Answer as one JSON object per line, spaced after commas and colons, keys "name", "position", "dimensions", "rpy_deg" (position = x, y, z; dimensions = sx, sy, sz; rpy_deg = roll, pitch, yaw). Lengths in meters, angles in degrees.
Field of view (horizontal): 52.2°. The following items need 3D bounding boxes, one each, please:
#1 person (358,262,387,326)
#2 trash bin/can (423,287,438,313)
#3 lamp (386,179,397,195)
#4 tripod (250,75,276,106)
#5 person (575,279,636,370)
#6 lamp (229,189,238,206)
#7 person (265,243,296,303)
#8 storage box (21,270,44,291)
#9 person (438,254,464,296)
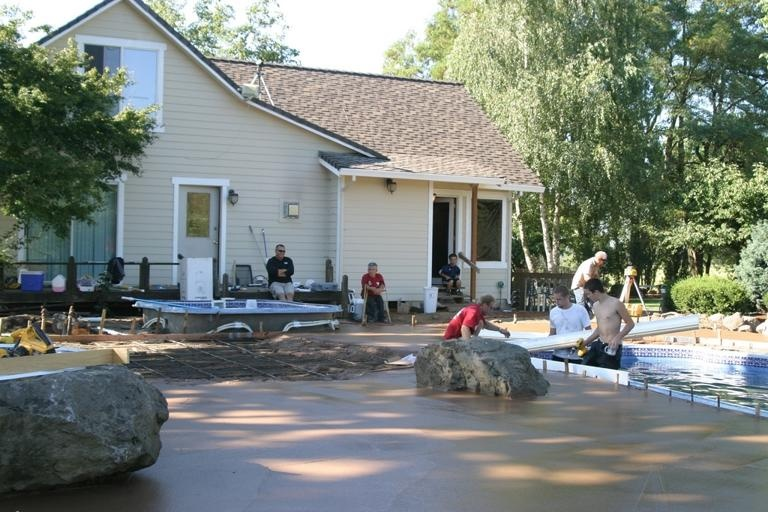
{"name": "person", "position": [-0.320, 0.969, 20.364], "dimensions": [0.451, 1.552, 1.153], "rpy_deg": [-2, -4, 27]}
{"name": "trash bin/can", "position": [1.324, 1.286, 22.437], "dimensions": [0.366, 0.757, 0.610], "rpy_deg": [-1, -3, -1]}
{"name": "lamp", "position": [0.231, -2.026, 22.550], "dimensions": [0.365, 0.412, 0.157], "rpy_deg": [2, -4, -35]}
{"name": "tripod", "position": [-3.743, -5.213, 24.023], "dimensions": [0.710, 1.193, 1.560], "rpy_deg": [0, -3, -14]}
{"name": "person", "position": [3.869, 1.190, 13.567], "dimensions": [0.827, 1.604, 1.016], "rpy_deg": [-2, -3, 15]}
{"name": "lamp", "position": [-4.145, -1.633, 21.530], "dimensions": [0.302, 0.448, 0.173], "rpy_deg": [1, -4, -24]}
{"name": "person", "position": [-2.688, 0.435, 20.196], "dimensions": [0.675, 1.438, 0.723], "rpy_deg": [0, -3, -7]}
{"name": "storage box", "position": [-8.386, 0.613, 18.635], "dimensions": [0.778, 0.470, 0.438], "rpy_deg": [1, -5, -12]}
{"name": "person", "position": [2.016, 0.538, 23.637], "dimensions": [0.605, 1.257, 0.781], "rpy_deg": [-1, -3, 4]}
